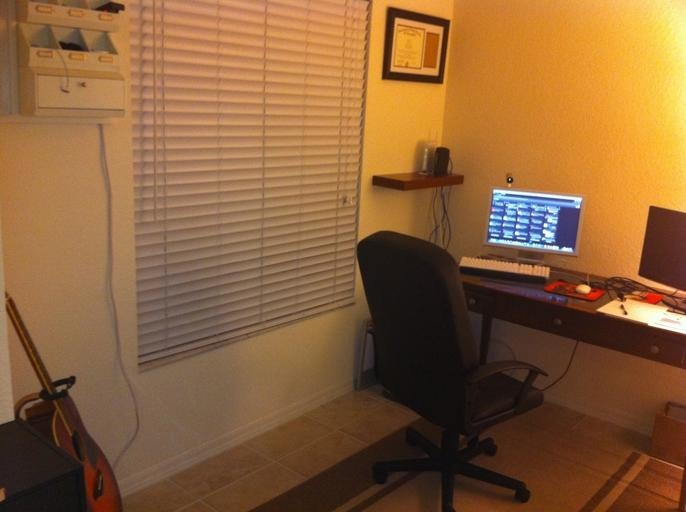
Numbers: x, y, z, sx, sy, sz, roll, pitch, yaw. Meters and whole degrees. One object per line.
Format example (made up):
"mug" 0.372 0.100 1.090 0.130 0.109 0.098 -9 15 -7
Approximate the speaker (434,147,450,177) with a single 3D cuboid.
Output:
"speaker" 0.692 -0.669 3.901 0.097 0.186 0.113 5 17 5

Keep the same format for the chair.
"chair" 0.512 0.570 2.776 0.813 1.412 0.535 -5 19 -24

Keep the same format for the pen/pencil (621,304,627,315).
"pen/pencil" 1.547 0.289 3.060 0.024 0.025 0.078 2 29 8

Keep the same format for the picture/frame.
"picture/frame" 0.466 -1.423 3.680 0.608 0.452 0.026 -7 15 -43

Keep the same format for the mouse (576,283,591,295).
"mouse" 1.411 0.181 3.245 0.062 0.036 0.066 8 24 19
